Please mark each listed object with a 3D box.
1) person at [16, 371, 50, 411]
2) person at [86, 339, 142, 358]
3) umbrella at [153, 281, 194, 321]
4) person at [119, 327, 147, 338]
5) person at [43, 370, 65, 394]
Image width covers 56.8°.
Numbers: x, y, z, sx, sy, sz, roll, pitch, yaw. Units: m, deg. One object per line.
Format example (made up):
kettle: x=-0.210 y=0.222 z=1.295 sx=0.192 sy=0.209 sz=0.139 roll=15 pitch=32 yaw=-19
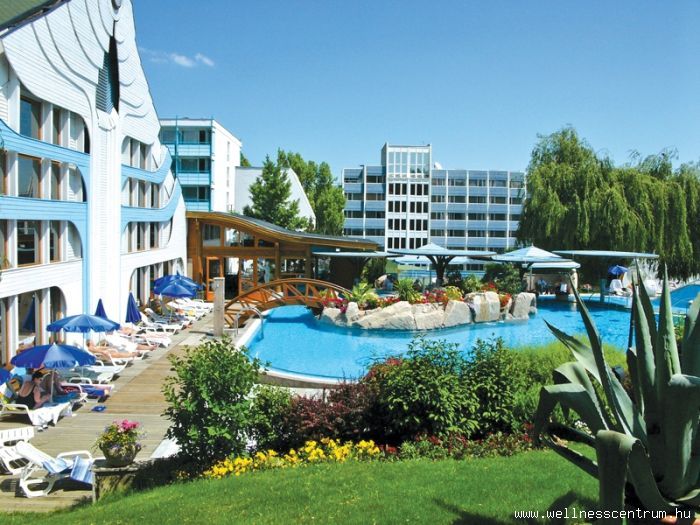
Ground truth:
person: x=-9.304 y=3.775 z=19.212 sx=0.763 sy=1.191 sz=0.765 roll=16 pitch=16 yaw=28
person: x=-8.746 y=3.236 z=23.971 sx=1.209 sy=0.538 sz=0.964 roll=1 pitch=2 yaw=-6
umbrella: x=-8.034 y=1.637 z=30.114 sx=1.601 sy=1.788 sz=1.856 roll=5 pitch=15 yaw=1
person: x=-9.153 y=2.899 z=27.013 sx=0.739 sy=0.299 sz=0.567 roll=15 pitch=5 yaw=-11
person: x=-8.963 y=3.688 z=19.538 sx=0.214 sy=0.788 sz=0.534 roll=-6 pitch=2 yaw=8
